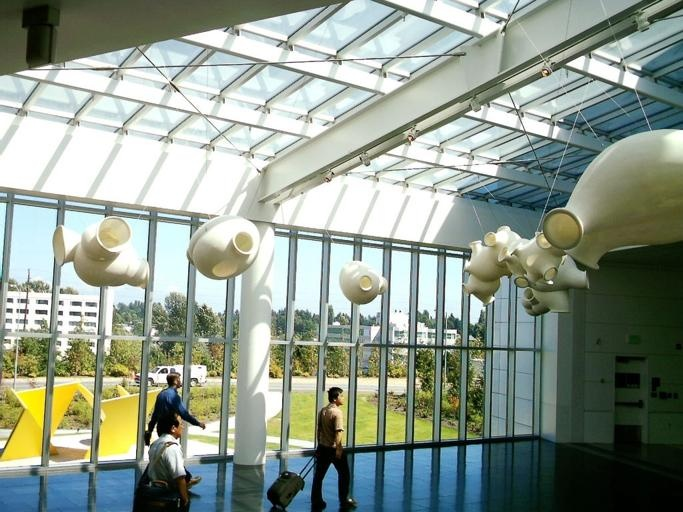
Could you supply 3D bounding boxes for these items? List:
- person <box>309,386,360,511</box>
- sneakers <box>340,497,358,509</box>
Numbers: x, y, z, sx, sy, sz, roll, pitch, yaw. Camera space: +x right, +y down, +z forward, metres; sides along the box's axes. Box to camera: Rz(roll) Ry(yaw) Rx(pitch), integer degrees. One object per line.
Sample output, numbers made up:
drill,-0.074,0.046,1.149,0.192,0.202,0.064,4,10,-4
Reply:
person,-0.163,3.439,10.236,0.666,2.242,0.982,2,-6,4
sneakers,0.132,4.508,10.552,0.317,0.232,0.122,7,4,-16
